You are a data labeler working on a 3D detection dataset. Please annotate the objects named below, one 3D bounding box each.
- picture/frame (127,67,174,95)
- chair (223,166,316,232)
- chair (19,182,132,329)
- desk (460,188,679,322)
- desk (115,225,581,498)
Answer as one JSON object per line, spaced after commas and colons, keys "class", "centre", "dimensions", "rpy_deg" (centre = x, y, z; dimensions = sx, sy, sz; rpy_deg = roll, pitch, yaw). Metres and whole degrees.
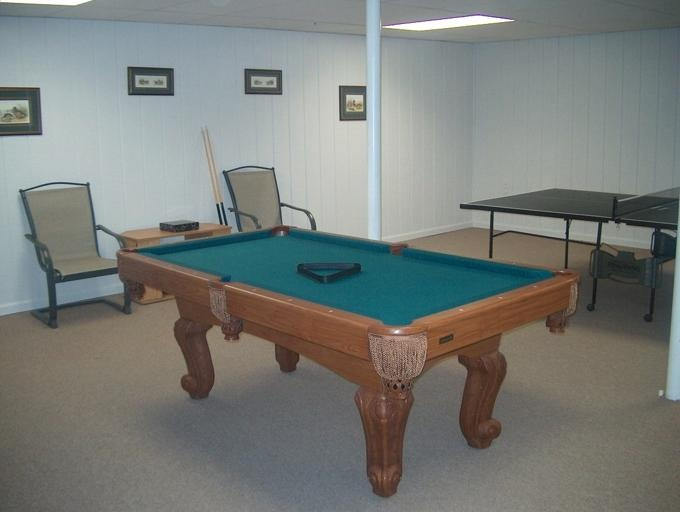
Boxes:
{"class": "picture/frame", "centre": [-1.948, -1.810, 5.418], "dimensions": [0.475, 0.286, 0.110], "rpy_deg": [-10, 20, -22]}
{"class": "chair", "centre": [-0.895, -0.528, 6.125], "dimensions": [0.942, 0.958, 0.805], "rpy_deg": [-6, 18, -35]}
{"class": "chair", "centre": [-2.516, -0.006, 4.911], "dimensions": [0.930, 1.425, 1.082], "rpy_deg": [-12, 23, -41]}
{"class": "desk", "centre": [2.221, -0.054, 4.814], "dimensions": [1.522, 1.013, 2.124], "rpy_deg": [12, 15, 32]}
{"class": "desk", "centre": [-0.124, 0.546, 3.356], "dimensions": [1.633, 1.031, 2.608], "rpy_deg": [-11, 14, -43]}
